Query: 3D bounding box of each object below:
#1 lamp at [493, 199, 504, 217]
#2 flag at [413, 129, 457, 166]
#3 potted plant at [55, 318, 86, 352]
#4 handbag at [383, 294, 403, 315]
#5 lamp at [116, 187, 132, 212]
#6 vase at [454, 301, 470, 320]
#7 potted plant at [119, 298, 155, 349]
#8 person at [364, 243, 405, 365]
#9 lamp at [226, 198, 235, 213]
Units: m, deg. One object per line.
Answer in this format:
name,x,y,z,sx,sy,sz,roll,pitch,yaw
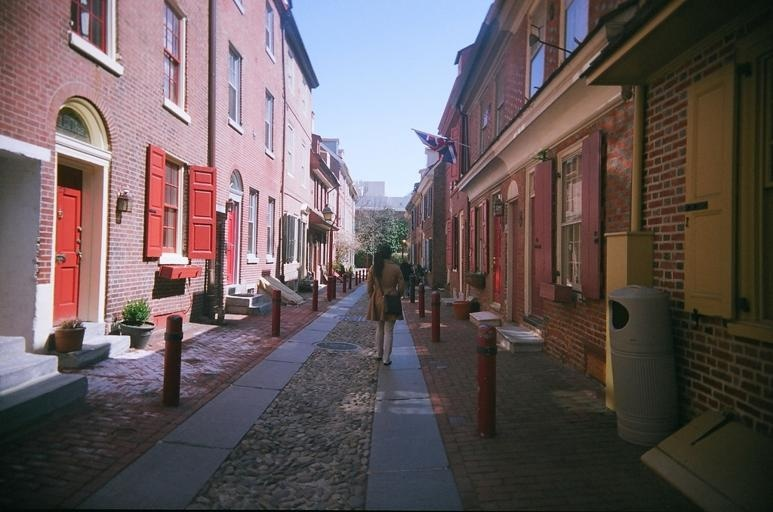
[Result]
lamp,2.695,-1.147,12.888,0.174,0.422,0.413,2,9,6
flag,1.535,-3.267,16.270,1.018,0.812,2.504,2,9,4
potted plant,-5.004,1.254,8.445,0.459,0.372,0.475,2,-6,-16
handbag,0.085,0.873,9.541,0.343,0.359,0.138,1,0,-16
lamp,-4.901,-1.014,9.990,0.270,0.392,0.150,-5,11,-34
vase,1.992,1.497,14.579,0.442,0.384,0.427,5,-3,-31
potted plant,-4.707,1.254,10.027,0.800,0.829,0.814,5,-21,-28
person,-0.034,0.929,9.827,0.656,2.100,1.128,1,9,-2
lamp,-4.212,-1.335,14.382,0.291,0.470,0.299,1,-3,-16
